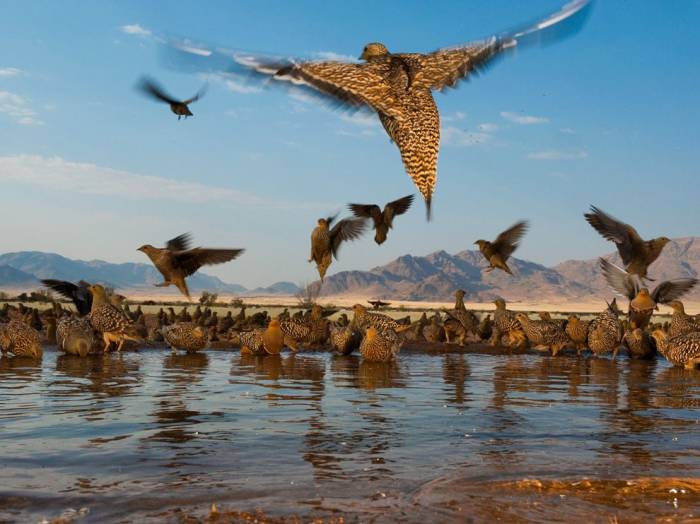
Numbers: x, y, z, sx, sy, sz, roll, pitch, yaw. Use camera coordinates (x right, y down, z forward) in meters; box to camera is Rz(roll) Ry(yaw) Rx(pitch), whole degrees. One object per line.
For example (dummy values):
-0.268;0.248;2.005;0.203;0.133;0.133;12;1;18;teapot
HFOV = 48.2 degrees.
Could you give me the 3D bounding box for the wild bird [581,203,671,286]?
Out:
6.842;-0.392;19.393;1.739;1.591;1.200;6;-8;-44;wild bird
